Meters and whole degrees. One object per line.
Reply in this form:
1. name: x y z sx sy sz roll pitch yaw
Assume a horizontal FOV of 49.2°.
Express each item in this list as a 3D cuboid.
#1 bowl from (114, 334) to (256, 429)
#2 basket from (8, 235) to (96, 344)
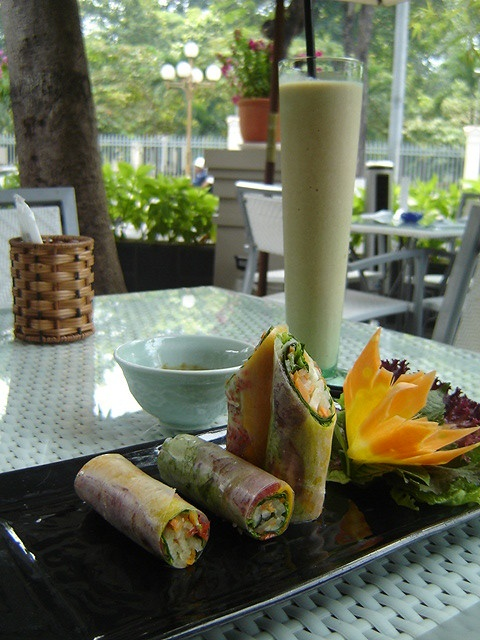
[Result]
1. bowl: -0.043 0.056 0.447 0.117 0.060 0.113 1 11 0
2. basket: -0.242 -0.045 0.688 0.115 0.124 0.117 9 13 37
